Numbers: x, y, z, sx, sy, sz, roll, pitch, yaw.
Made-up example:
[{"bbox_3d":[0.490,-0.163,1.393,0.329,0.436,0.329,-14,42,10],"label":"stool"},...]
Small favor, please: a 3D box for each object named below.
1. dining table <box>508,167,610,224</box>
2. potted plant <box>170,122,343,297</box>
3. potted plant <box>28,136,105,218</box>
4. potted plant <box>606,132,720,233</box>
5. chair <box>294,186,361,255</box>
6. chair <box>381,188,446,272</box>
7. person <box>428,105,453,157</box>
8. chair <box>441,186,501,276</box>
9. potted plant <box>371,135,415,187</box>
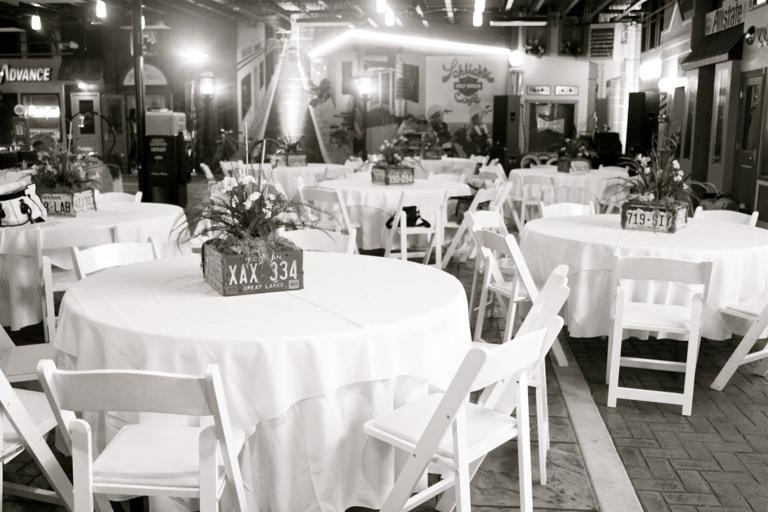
[{"bbox_3d":[2.582,-1.006,9.422,1.121,0.826,1.218,2,12,6],"label":"dining table"},{"bbox_3d":[-0.795,-0.219,3.944,0.753,0.886,0.924,-7,14,-35],"label":"potted plant"},{"bbox_3d":[-3.031,-0.742,6.017,0.419,0.735,0.570,-4,11,7],"label":"potted plant"},{"bbox_3d":[2.490,-0.611,5.594,0.710,0.604,0.626,11,2,-12],"label":"potted plant"},{"bbox_3d":[-0.410,-0.253,5.068,0.327,0.489,0.308,-1,10,1],"label":"chair"},{"bbox_3d":[0.392,-0.547,7.374,0.505,0.719,0.883,3,22,-6],"label":"chair"},{"bbox_3d":[1.330,-3.100,15.755,0.676,1.253,1.194,5,14,18],"label":"person"},{"bbox_3d":[0.962,-0.383,7.471,0.674,0.906,0.663,7,0,43],"label":"chair"},{"bbox_3d":[0.214,-1.164,8.087,0.463,0.690,0.626,5,0,7],"label":"potted plant"}]
